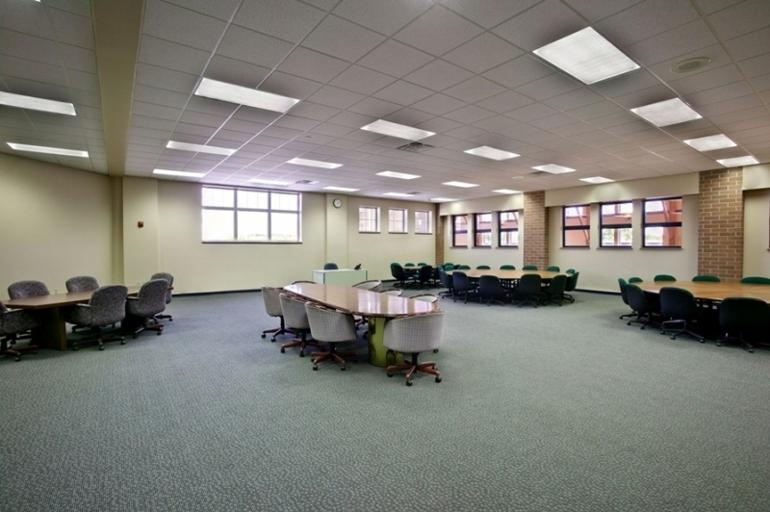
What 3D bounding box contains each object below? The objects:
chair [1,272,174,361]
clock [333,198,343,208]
[{"bbox_3d":[-4.965,0.941,7.469,1.389,0.620,1.744,4,4,36],"label":"chair"},{"bbox_3d":[-1.552,-1.721,14.712,0.066,0.297,0.353,5,8,40],"label":"clock"}]
